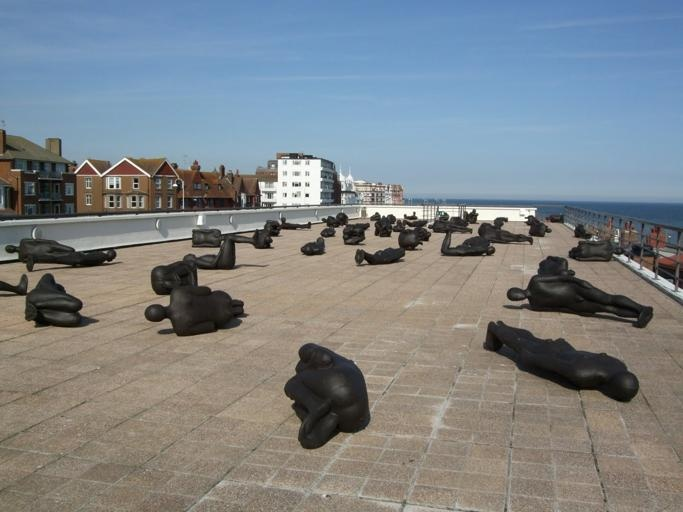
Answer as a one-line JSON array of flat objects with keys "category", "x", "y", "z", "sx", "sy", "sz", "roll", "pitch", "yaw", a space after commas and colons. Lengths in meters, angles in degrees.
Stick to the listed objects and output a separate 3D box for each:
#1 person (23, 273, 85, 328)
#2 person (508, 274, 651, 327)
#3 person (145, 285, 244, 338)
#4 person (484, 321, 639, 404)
[{"category": "person", "x": -5.113, "y": 0.844, "z": 8.487, "sx": 1.213, "sy": 0.821, "sz": 0.518, "roll": 10, "pitch": 9, "yaw": -1}, {"category": "person", "x": 4.765, "y": 0.897, "z": 9.469, "sx": 2.506, "sy": 0.675, "sz": 0.789, "roll": 14, "pitch": -10, "yaw": 31}, {"category": "person", "x": -2.573, "y": 0.962, "z": 8.314, "sx": 1.743, "sy": 0.806, "sz": 0.515, "roll": 0, "pitch": -27, "yaw": -37}, {"category": "person", "x": 2.921, "y": 1.365, "z": 6.309, "sx": 0.656, "sy": 0.429, "sz": 1.899, "roll": -11, "pitch": 10, "yaw": -26}]
